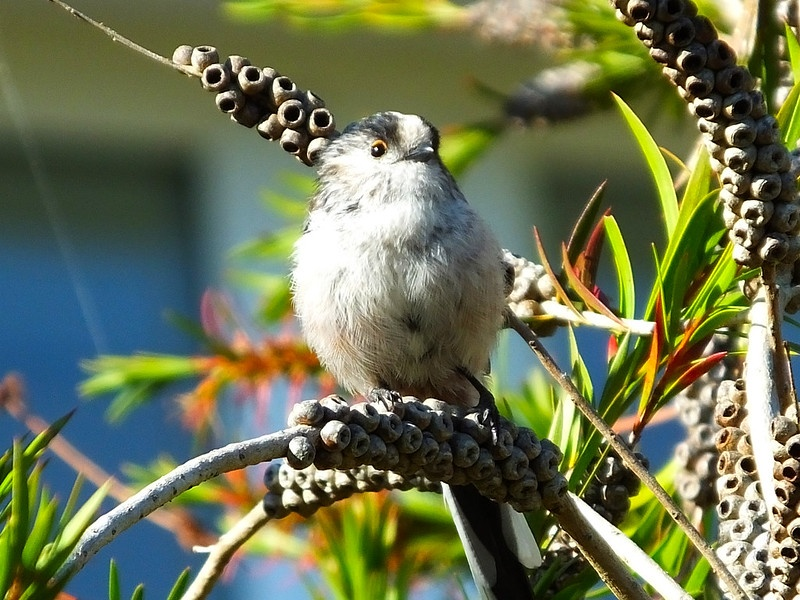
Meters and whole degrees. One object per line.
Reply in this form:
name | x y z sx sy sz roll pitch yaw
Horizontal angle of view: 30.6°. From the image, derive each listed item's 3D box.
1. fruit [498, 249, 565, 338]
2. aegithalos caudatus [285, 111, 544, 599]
fruit | 0.253 -0.021 2.818 0.068 0.159 0.107 -28 -35 -35
aegithalos caudatus | 0.050 0.207 3.047 0.356 0.459 1.077 -9 -64 -5
